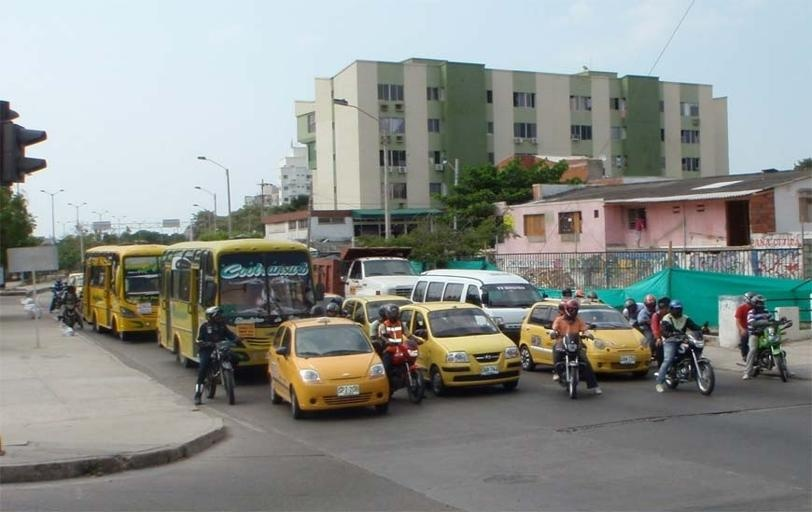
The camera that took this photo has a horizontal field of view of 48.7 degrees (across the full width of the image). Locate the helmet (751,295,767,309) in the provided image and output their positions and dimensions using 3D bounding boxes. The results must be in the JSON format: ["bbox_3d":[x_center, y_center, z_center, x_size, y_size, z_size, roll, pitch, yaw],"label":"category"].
[{"bbox_3d":[10.140,1.300,26.054,0.488,0.435,0.420,-3,2,33],"label":"helmet"}]

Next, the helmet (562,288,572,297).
[{"bbox_3d":[5.593,1.283,31.519,0.341,0.361,0.343,1,5,17],"label":"helmet"}]

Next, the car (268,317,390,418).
[{"bbox_3d":[-2.341,2.847,24.425,2.024,1.562,3.284,-1,-3,-19],"label":"car"}]

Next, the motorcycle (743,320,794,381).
[{"bbox_3d":[10.416,2.669,25.817,1.114,1.737,0.782,4,11,23],"label":"motorcycle"}]

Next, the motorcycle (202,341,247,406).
[{"bbox_3d":[-5.342,3.239,25.532,0.861,1.798,1.872,-4,11,-16],"label":"motorcycle"}]

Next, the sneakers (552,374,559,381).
[{"bbox_3d":[4.154,3.369,25.056,0.187,0.202,0.196,-5,0,37],"label":"sneakers"}]

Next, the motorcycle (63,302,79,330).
[{"bbox_3d":[-15.349,2.693,41.465,0.920,1.177,2.042,0,5,-22],"label":"motorcycle"}]

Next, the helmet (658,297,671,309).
[{"bbox_3d":[7.325,1.285,25.508,0.276,0.311,0.347,-1,-6,7],"label":"helmet"}]

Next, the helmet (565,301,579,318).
[{"bbox_3d":[4.603,1.474,25.087,0.355,0.474,0.480,1,-4,-5],"label":"helmet"}]

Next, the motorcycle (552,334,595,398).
[{"bbox_3d":[4.611,3.008,24.626,0.751,1.682,0.829,-3,10,-11],"label":"motorcycle"}]

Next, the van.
[{"bbox_3d":[2.501,1.685,31.849,2.401,1.992,3.882,-1,1,-30],"label":"van"}]

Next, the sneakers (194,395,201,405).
[{"bbox_3d":[-5.772,3.938,24.699,0.204,0.234,0.596,0,-7,-11],"label":"sneakers"}]

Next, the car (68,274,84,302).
[{"bbox_3d":[-16.344,1.542,44.247,1.036,0.933,1.725,-2,11,-25],"label":"car"}]

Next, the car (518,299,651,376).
[{"bbox_3d":[5.287,2.425,27.560,2.135,1.680,3.505,0,-1,-24],"label":"car"}]

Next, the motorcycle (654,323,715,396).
[{"bbox_3d":[7.807,2.866,24.587,0.516,1.591,1.305,-8,12,-33],"label":"motorcycle"}]

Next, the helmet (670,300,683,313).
[{"bbox_3d":[7.478,1.367,24.940,0.313,0.344,0.522,2,10,14],"label":"helmet"}]

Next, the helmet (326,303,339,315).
[{"bbox_3d":[-2.317,1.658,28.071,0.311,0.400,0.410,1,19,-5],"label":"helmet"}]

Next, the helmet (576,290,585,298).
[{"bbox_3d":[5.779,1.201,29.932,0.301,0.234,0.483,1,-14,0],"label":"helmet"}]

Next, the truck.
[{"bbox_3d":[-2.763,0.396,42.913,2.691,1.896,4.620,-1,-1,-22],"label":"truck"}]
